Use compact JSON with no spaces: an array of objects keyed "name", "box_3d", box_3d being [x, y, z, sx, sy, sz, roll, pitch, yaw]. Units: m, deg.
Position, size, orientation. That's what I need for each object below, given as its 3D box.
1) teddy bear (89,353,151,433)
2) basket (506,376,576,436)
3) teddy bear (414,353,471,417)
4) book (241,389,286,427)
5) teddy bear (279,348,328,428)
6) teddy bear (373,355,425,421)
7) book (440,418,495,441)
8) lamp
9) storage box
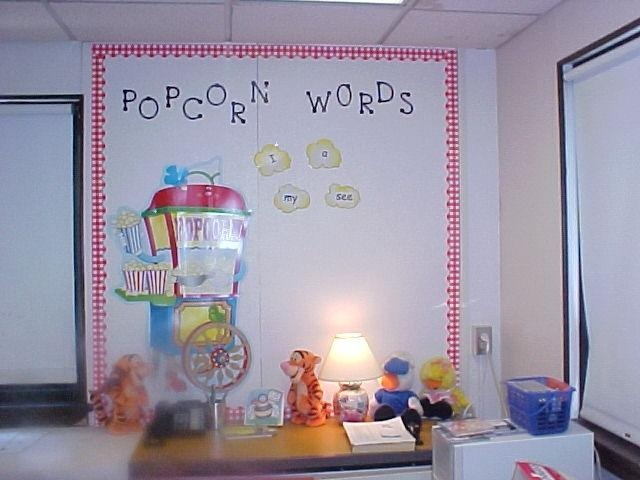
[{"name":"teddy bear","box_3d":[-0.944,0.748,2.843,0.308,0.429,0.389,-1,-11,-18]},{"name":"basket","box_3d":[0.986,0.724,2.636,0.215,0.181,0.261,0,0,-8]},{"name":"teddy bear","box_3d":[0.667,0.821,3.245,0.340,0.347,0.224,-1,3,42]},{"name":"book","box_3d":[-0.295,0.882,3.047,0.249,0.209,0.246,-9,-11,10]},{"name":"teddy bear","box_3d":[-0.057,0.773,3.083,0.328,0.404,0.214,3,-1,-22]},{"name":"teddy bear","box_3d":[0.392,0.804,3.104,0.278,0.380,0.226,-2,-3,10]},{"name":"book","box_3d":[0.666,0.855,2.649,0.233,0.046,0.150,-3,-4,-5]},{"name":"lamp","box_3d":[0.183,0.724,3.233,0.388,0.594,0.418,-2,-2,6]},{"name":"storage box","box_3d":[1.048,0.801,2.681,0.222,0.189,0.279,-5,-24,23]}]
